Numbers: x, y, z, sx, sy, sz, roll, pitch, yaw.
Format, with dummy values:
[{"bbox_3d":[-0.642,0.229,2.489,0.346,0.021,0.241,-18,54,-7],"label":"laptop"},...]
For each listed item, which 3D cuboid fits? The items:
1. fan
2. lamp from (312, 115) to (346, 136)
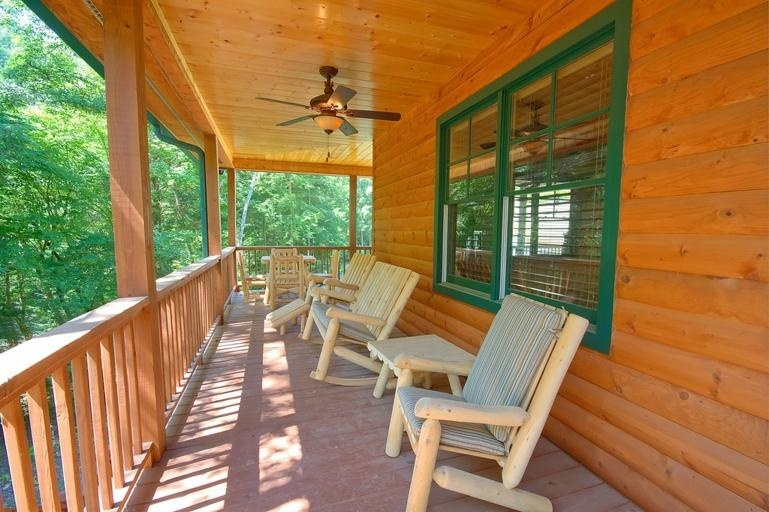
[{"bbox_3d":[-0.533,-1.591,4.907,1.437,0.564,1.196,1,1,-4],"label":"fan"},{"bbox_3d":[-0.560,-1.400,4.945,0.277,0.101,0.252,-1,-20,5],"label":"lamp"}]
